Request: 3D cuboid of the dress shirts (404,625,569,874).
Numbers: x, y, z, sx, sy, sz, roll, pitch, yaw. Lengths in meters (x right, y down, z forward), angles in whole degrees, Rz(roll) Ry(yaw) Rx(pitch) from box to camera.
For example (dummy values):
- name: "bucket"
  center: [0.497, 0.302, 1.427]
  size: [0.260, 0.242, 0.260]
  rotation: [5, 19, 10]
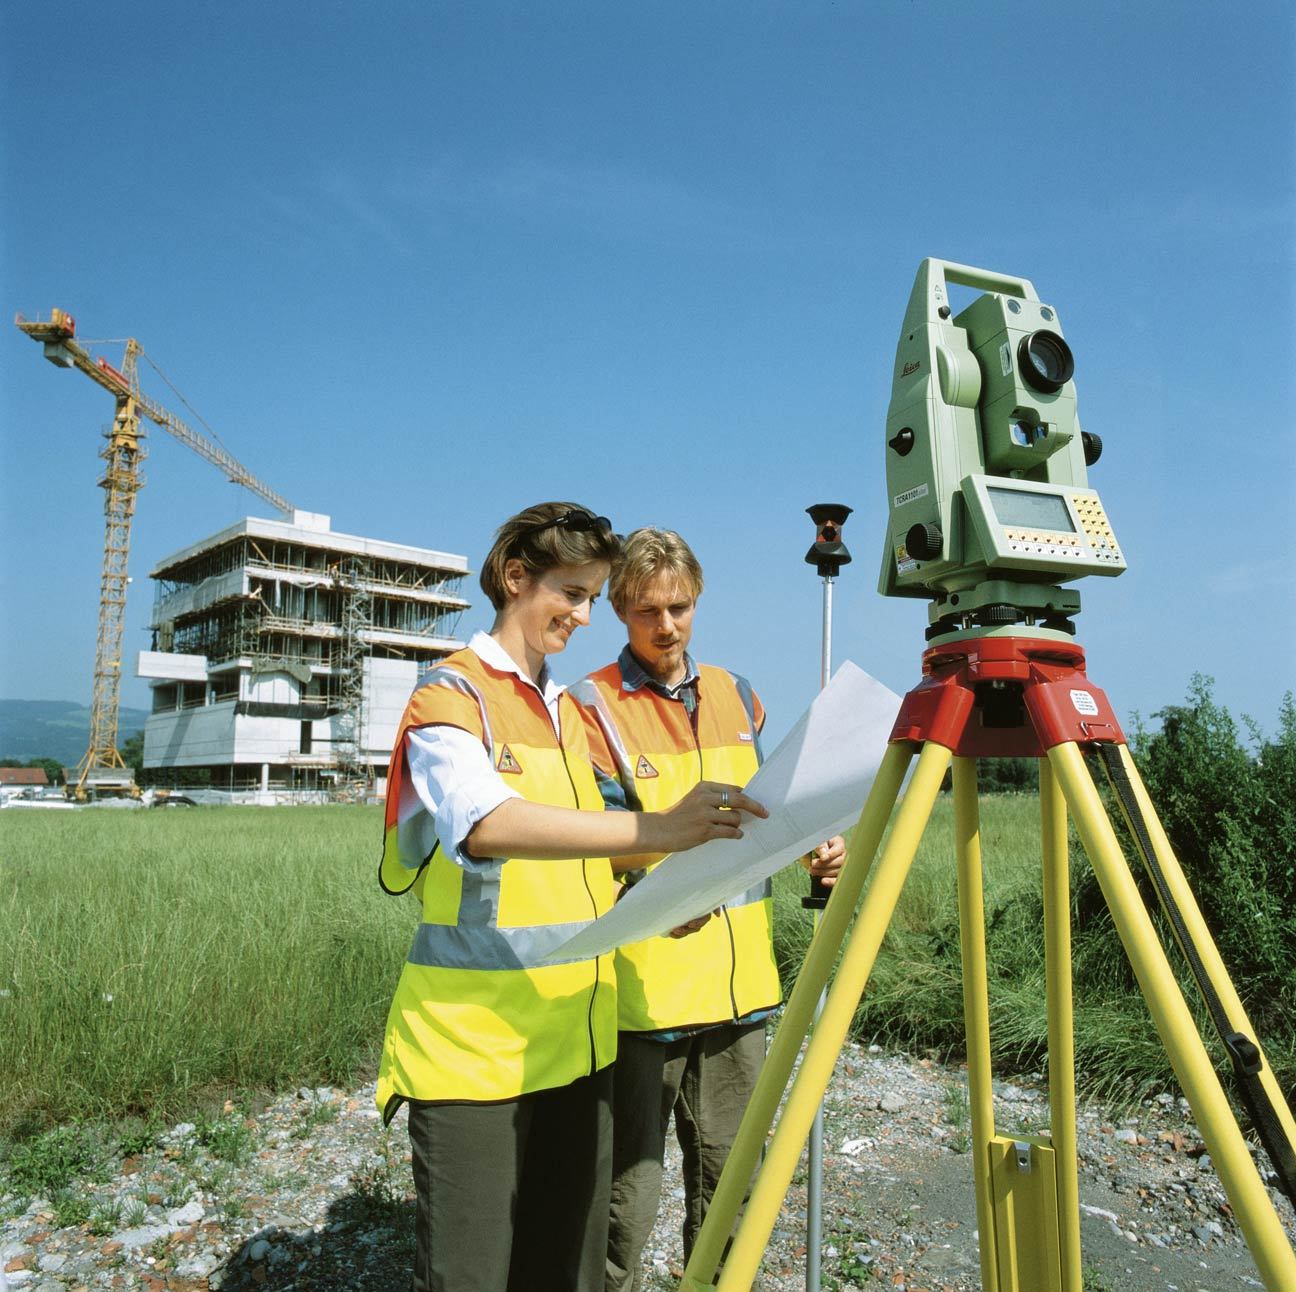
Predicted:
- name: "dress shirts"
  center: [-0.348, 0.247, 2.527]
  size: [0.305, 0.487, 0.534]
  rotation: [-10, -3, 17]
